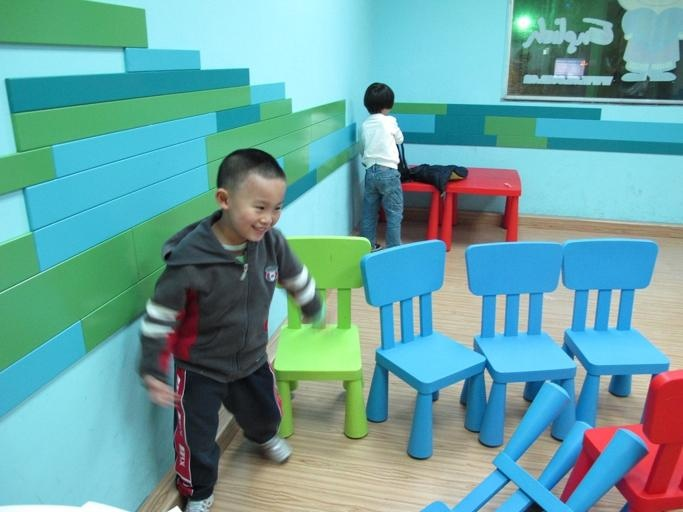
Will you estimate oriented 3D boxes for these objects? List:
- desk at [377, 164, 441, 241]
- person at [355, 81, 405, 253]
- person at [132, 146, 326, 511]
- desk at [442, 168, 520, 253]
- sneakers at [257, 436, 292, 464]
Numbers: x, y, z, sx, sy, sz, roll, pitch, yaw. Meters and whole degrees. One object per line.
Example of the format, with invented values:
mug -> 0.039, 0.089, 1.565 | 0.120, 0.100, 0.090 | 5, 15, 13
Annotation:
desk -> 0.577, -0.410, 4.124 | 0.477, 0.389, 0.479 | 1, 26, 3
person -> 0.289, -0.631, 3.744 | 0.360, 1.186, 0.289 | 7, 20, 20
person -> -0.375, 0.341, 1.762 | 0.239, 1.049, 0.650 | 12, 22, 31
desk -> 1.081, -0.468, 4.114 | 0.616, 0.525, 0.673 | 3, 24, 8
sneakers -> -0.250, 0.747, 1.982 | 0.124, 0.056, 0.081 | 16, 58, 15
